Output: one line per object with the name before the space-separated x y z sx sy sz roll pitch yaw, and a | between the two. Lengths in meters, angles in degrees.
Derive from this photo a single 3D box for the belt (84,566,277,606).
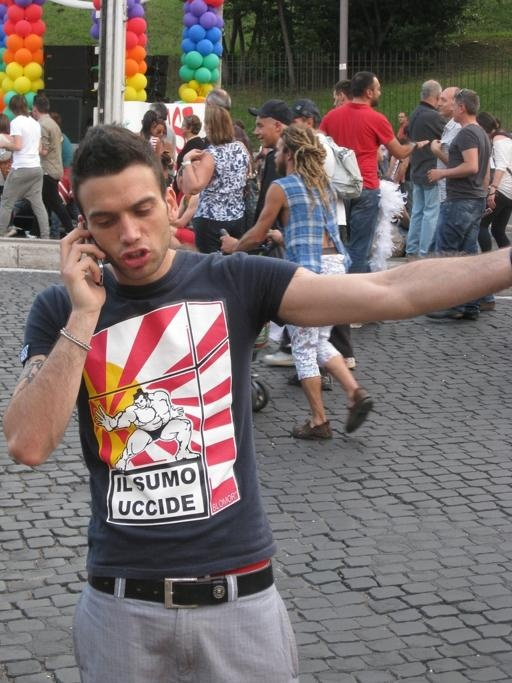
belt | -0.156 0.459 1.409 0.362 0.069 0.112 1 13 2

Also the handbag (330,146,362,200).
handbag | 0.824 -1.540 6.819 0.309 0.497 0.291 9 26 28
